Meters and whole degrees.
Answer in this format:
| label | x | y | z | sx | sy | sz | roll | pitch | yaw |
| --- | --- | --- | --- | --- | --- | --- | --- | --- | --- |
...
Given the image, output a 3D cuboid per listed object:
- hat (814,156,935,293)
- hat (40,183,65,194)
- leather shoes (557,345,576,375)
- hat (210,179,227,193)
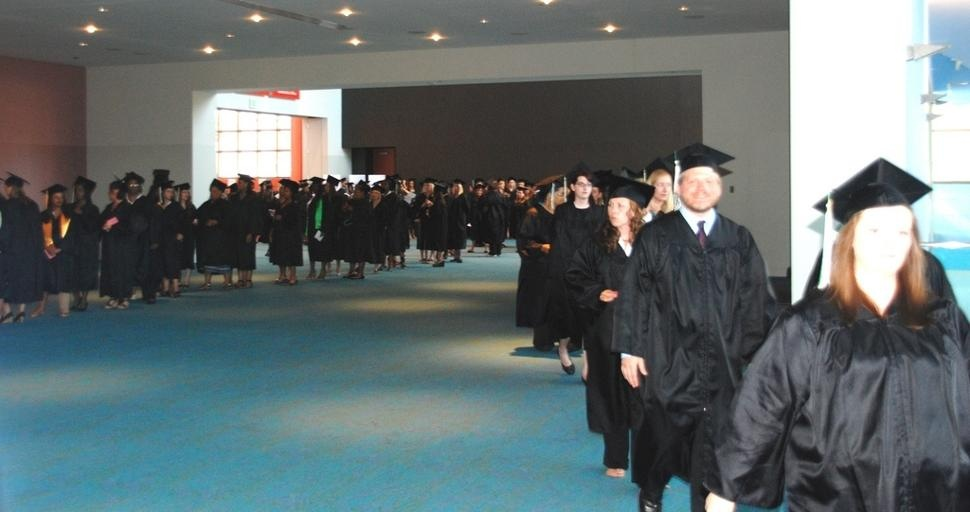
| label | x | y | z | sx | sy | sz | roll | pitch | yaw |
| --- | --- | --- | --- | --- | --- | --- | --- | --- | --- |
| hat | 2.494 | -0.218 | 4.594 | 0.677 | 0.758 | 0.716 | 27 | -37 | 1 |
| hat | -7.901 | -1.223 | 12.895 | 0.528 | 0.183 | 0.428 | -4 | 8 | -17 |
| leather shoes | 0.985 | 1.306 | 8.862 | 0.147 | 0.069 | 0.435 | 14 | 25 | -29 |
| hat | -5.819 | -1.475 | 15.389 | 0.353 | 0.202 | 0.313 | 2 | 31 | -26 |
